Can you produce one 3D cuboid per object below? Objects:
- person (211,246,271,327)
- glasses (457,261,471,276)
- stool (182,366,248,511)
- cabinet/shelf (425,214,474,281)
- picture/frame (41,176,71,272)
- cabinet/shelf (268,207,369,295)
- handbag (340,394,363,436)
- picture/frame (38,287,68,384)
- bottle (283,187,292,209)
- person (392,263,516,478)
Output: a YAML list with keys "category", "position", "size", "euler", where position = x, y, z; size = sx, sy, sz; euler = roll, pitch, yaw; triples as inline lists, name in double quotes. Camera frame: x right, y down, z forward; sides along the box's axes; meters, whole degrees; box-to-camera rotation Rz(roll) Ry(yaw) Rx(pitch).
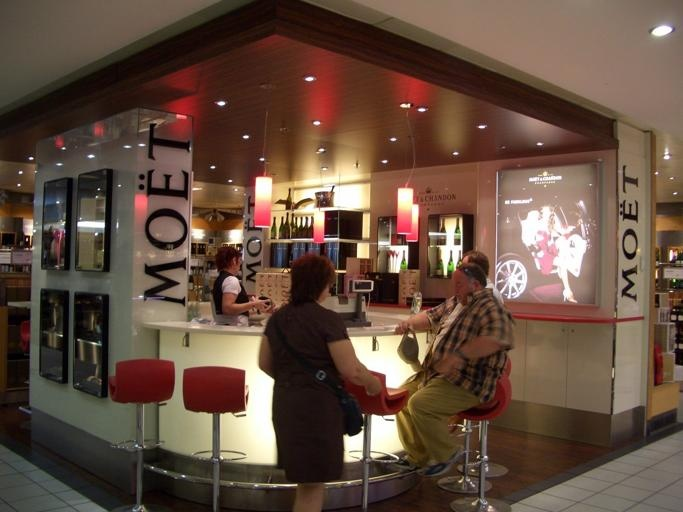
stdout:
- category: "person"
  position: [-1.013, 0.428, 5.484]
  size: [0.570, 1.048, 0.636]
  euler: [3, -7, -23]
- category: "glasses"
  position: [1.034, 0.102, 4.554]
  size: [0.096, 0.105, 0.084]
  euler: [4, 3, 26]
- category: "stool"
  position: [-0.950, 1.489, 4.243]
  size: [0.474, 1.284, 0.530]
  euler: [1, -1, 8]
- category: "cabinet/shelf"
  position: [1.656, -0.152, 8.029]
  size: [0.708, 1.137, 0.361]
  euler: [1, 7, 37]
- category: "picture/frame"
  position: [-3.288, -0.367, 6.152]
  size: [0.163, 1.027, 0.895]
  euler: [2, -1, -38]
- category: "cabinet/shelf"
  position: [-0.585, -0.172, 9.743]
  size: [1.617, 1.405, 0.562]
  euler: [0, 12, -23]
- category: "handbag"
  position: [0.071, 1.010, 3.432]
  size: [0.087, 0.241, 0.177]
  euler: [-5, 6, -38]
- category: "picture/frame"
  position: [-3.278, 0.880, 6.069]
  size: [0.169, 1.023, 0.831]
  euler: [2, -1, -39]
- category: "bottle"
  position: [-1.006, -1.107, 10.266]
  size: [0.141, 0.424, 0.223]
  euler: [1, -1, -8]
- category: "person"
  position: [0.950, 0.910, 4.542]
  size: [0.933, 1.694, 0.625]
  euler: [1, -1, 16]
